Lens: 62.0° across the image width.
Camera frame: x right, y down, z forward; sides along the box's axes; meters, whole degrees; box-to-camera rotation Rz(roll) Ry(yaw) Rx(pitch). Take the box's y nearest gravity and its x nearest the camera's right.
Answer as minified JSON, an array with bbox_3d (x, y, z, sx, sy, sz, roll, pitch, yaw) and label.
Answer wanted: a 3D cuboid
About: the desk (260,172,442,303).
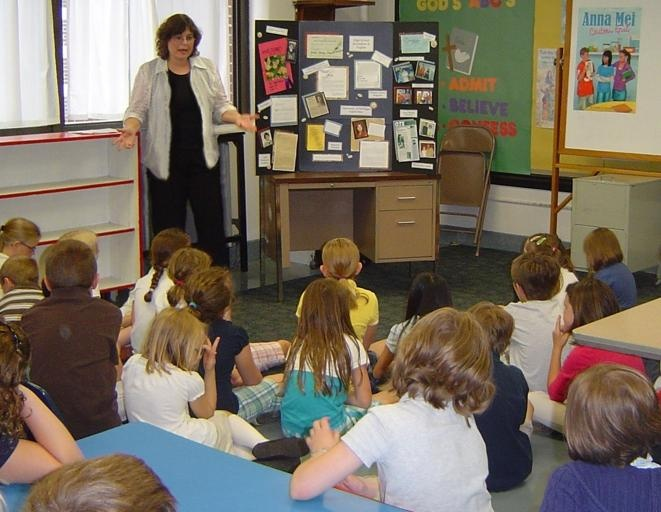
[{"bbox_3d":[0.213,-0.279,5.457,1.520,1.109,0.959,-3,9,-6],"label":"desk"}]

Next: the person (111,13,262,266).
[{"bbox_3d":[-1.259,-0.907,4.672,0.902,2.129,0.598,-2,9,-23],"label":"person"}]
